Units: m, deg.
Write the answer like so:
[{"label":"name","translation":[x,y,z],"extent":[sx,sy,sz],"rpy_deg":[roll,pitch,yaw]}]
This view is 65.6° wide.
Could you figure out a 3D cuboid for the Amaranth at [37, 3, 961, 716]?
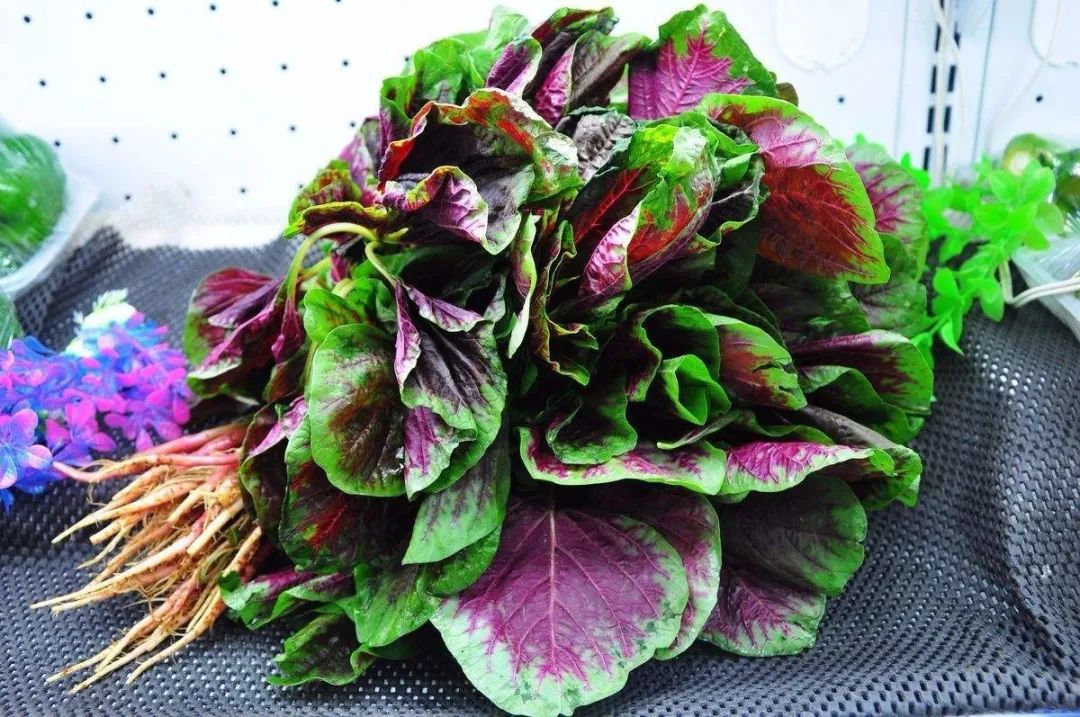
[{"label":"Amaranth","translation":[-0.072,0.121,1.139],"extent":[0.987,0.502,0.923],"rpy_deg":[-1,58,7]}]
